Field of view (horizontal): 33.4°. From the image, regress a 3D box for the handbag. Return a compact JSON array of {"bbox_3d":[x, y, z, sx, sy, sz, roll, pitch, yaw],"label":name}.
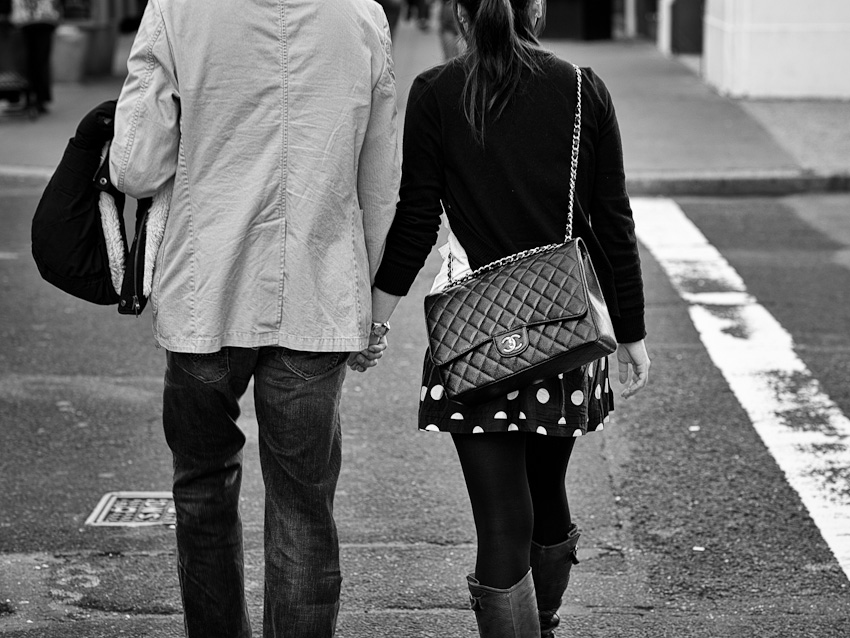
[{"bbox_3d":[0.301,-0.002,4.566,0.449,0.328,0.202,-21,-5,12],"label":"handbag"}]
